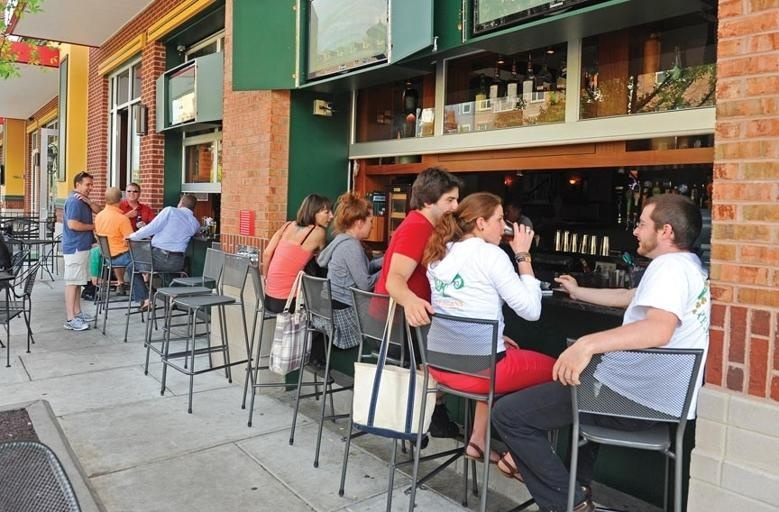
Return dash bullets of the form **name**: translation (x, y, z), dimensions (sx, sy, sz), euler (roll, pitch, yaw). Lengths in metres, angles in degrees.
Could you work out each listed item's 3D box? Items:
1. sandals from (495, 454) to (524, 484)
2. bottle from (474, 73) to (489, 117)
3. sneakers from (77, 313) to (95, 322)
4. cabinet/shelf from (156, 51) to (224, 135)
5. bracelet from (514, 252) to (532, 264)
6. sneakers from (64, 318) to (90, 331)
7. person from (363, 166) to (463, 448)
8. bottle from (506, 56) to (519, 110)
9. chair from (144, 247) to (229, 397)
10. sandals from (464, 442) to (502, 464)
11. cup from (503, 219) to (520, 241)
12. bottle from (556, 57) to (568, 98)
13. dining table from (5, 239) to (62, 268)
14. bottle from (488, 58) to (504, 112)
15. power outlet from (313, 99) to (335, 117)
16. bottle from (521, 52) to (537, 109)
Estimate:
- **sandals**: translation (0.741, 1.324, 3.671), dimensions (0.127, 0.077, 0.232), euler (2, 9, 12)
- **bottle**: translation (0.836, -1.466, 5.351), dimensions (0.038, 0.332, 0.139), euler (-7, 13, -43)
- **sneakers**: translation (-4.050, 0.834, 7.804), dimensions (0.250, 0.108, 0.106), euler (2, 13, -27)
- **cabinet/shelf**: translation (-2.859, -2.307, 8.431), dimensions (0.428, 0.985, 2.316), euler (-5, 11, -32)
- **bracelet**: translation (0.898, 0.018, 4.008), dimensions (0.073, 0.097, 0.096), euler (18, 8, 42)
- **sneakers**: translation (-4.037, 0.888, 7.559), dimensions (0.324, 0.150, 0.138), euler (2, 5, -10)
- **person**: translation (0.279, 0.237, 4.325), dimensions (0.699, 1.653, 0.742), euler (9, 26, 30)
- **bottle**: translation (1.076, -1.487, 5.140), dimensions (0.043, 0.400, 0.131), euler (-5, 12, -35)
- **chair**: translation (-2.222, 0.745, 6.398), dimensions (0.593, 1.159, 1.379), euler (1, 2, -29)
- **sandals**: translation (0.603, 1.269, 3.773), dimensions (0.248, 0.083, 0.125), euler (2, -1, -20)
- **cup**: translation (0.805, -0.170, 3.824), dimensions (0.145, 0.138, 0.095), euler (7, -2, -29)
- **bottle**: translation (1.414, -1.462, 4.842), dimensions (0.035, 0.314, 0.104), euler (-4, 11, -28)
- **dining table**: translation (-5.923, -0.026, 9.789), dimensions (0.670, 0.328, 0.662), euler (2, -2, -37)
- **bottle**: translation (0.936, -1.533, 5.262), dimensions (0.031, 0.454, 0.124), euler (-8, 14, -44)
- **power outlet**: translation (-0.709, -1.565, 6.264), dimensions (0.228, 0.172, 0.061), euler (-5, 12, -34)
- **bottle**: translation (1.189, -1.496, 5.036), dimensions (0.114, 0.417, 0.059), euler (9, 12, 36)
